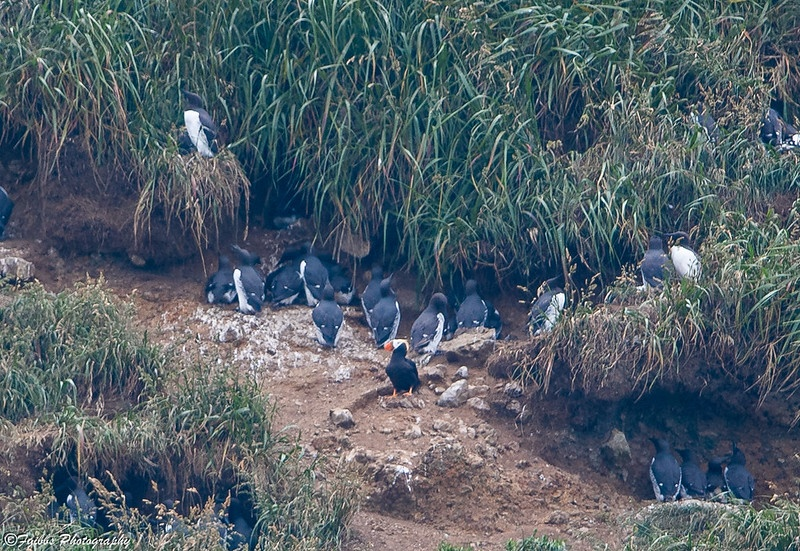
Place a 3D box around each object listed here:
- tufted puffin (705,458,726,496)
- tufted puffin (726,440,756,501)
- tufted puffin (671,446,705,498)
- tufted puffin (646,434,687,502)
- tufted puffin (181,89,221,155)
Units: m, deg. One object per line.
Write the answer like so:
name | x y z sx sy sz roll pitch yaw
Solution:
tufted puffin | 3.967 2.516 16.505 0.197 0.282 0.418 -7 33 25
tufted puffin | 4.200 2.391 16.319 0.247 0.448 0.738 -12 35 9
tufted puffin | 3.634 2.436 16.410 0.262 0.363 0.551 -15 35 1
tufted puffin | 3.331 2.424 16.408 0.256 0.352 0.858 -4 55 5
tufted puffin | -2.716 -2.078 18.000 0.454 0.742 0.544 1 32 -12
